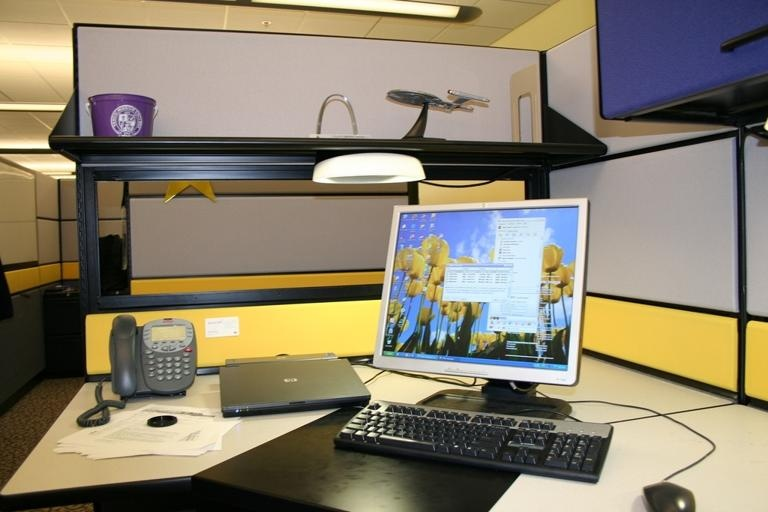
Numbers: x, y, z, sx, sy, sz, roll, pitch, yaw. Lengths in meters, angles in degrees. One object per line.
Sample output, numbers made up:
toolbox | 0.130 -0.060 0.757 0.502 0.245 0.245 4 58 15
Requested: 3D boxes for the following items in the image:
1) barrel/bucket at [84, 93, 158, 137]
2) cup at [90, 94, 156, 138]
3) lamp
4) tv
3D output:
barrel/bucket | -0.793 -0.407 1.648 0.195 0.121 0.184 -3 1 0
cup | -0.792 -0.411 1.648 0.194 0.121 0.186 0 5 0
lamp | -0.074 -0.310 1.685 0.281 0.251 0.334 2 -5 -36
tv | 0.267 0.145 1.448 0.584 0.530 0.300 1 -2 22
